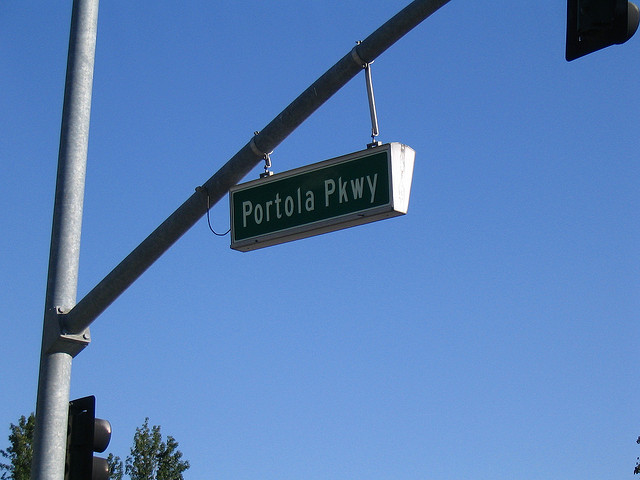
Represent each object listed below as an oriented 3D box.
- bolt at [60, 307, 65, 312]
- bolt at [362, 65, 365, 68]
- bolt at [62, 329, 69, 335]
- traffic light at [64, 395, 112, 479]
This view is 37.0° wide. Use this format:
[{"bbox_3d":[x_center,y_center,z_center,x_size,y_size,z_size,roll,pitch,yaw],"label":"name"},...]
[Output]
[{"bbox_3d":[-2.512,0.699,9.287,0.040,0.047,0.010,-2,-7,-7],"label":"bolt"},{"bbox_3d":[0.385,-1.561,8.586,0.020,0.023,0.005,-1,-1,11],"label":"bolt"},{"bbox_3d":[-2.450,0.910,9.166,0.040,0.046,0.011,6,-7,-4],"label":"bolt"},{"bbox_3d":[-2.235,1.921,9.140,0.418,0.735,0.448,1,-31,-2],"label":"traffic light"}]
